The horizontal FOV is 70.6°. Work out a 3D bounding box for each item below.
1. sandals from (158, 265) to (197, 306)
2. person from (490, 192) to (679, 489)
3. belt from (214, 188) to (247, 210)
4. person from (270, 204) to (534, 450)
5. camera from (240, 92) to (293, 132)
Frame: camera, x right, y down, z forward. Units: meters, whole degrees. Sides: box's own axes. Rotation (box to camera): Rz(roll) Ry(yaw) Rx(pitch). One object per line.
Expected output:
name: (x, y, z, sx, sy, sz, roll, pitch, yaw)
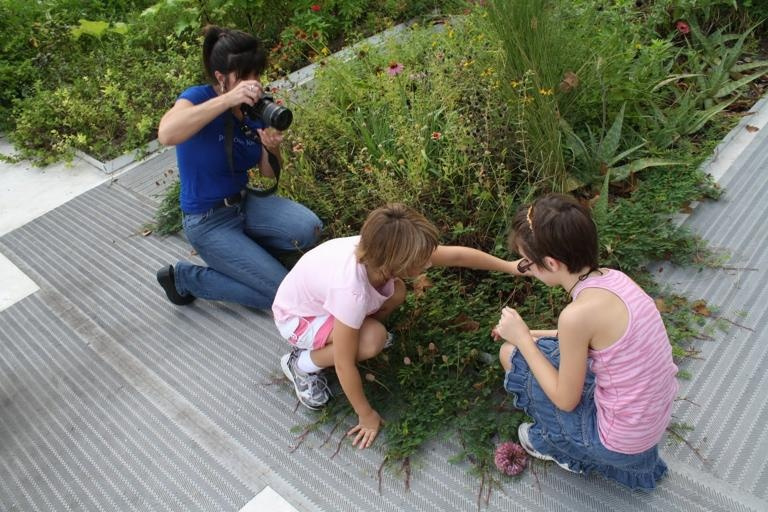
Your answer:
sandals: (-1.475, 0.228, 3.854, 0.156, 0.392, 0.143, -8, 22, 47)
person: (1.126, 0.502, 2.973, 0.808, 1.456, 1.069, -13, 15, -33)
belt: (-1.064, -0.395, 3.769, 0.172, 0.052, 0.121, -30, 9, 18)
person: (0.054, 0.200, 3.369, 1.613, 1.384, 1.156, 8, 45, -1)
camera: (-0.719, -0.889, 3.371, 0.265, 0.154, 0.247, 38, 71, 25)
